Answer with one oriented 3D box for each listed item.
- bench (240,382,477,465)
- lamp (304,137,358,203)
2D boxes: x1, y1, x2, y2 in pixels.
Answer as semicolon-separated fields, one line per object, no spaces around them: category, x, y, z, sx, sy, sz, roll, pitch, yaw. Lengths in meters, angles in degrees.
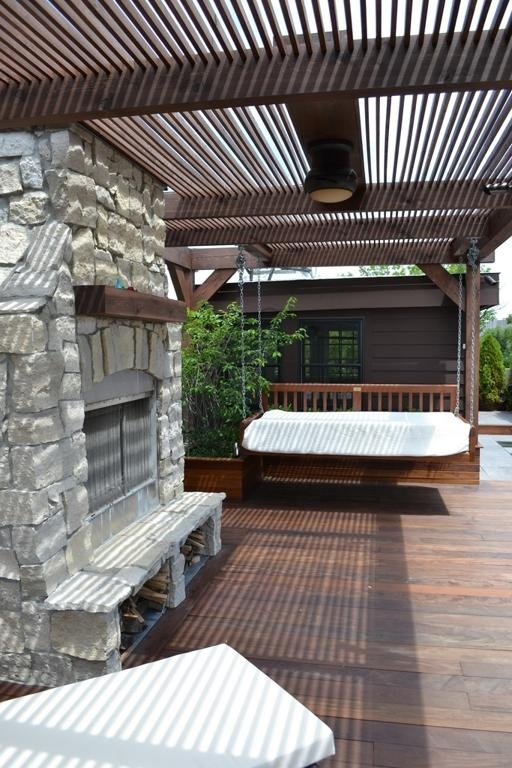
bench;1.349;0.399;6.976;2.602;0.851;4.035;-1;2;11
lamp;0.372;-1.091;2.653;0.251;0.238;0.274;-1;2;6
